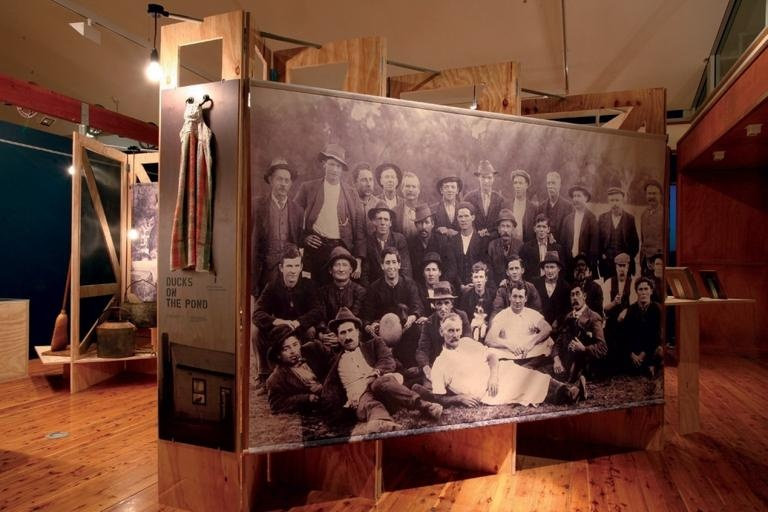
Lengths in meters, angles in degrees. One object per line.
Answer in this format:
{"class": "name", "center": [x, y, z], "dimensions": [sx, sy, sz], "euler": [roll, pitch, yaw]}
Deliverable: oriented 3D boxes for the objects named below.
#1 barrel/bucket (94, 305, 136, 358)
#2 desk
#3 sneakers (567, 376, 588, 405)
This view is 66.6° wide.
{"class": "barrel/bucket", "center": [-3.631, 1.074, 8.148], "dimensions": [0.643, 0.865, 0.592], "euler": [1, -6, 0]}
{"class": "desk", "center": [3.759, 1.276, 7.476], "dimensions": [1.459, 1.490, 1.473], "euler": [-1, 1, -20]}
{"class": "sneakers", "center": [2.018, 1.393, 6.092], "dimensions": [0.189, 0.290, 0.146], "euler": [6, 38, 15]}
